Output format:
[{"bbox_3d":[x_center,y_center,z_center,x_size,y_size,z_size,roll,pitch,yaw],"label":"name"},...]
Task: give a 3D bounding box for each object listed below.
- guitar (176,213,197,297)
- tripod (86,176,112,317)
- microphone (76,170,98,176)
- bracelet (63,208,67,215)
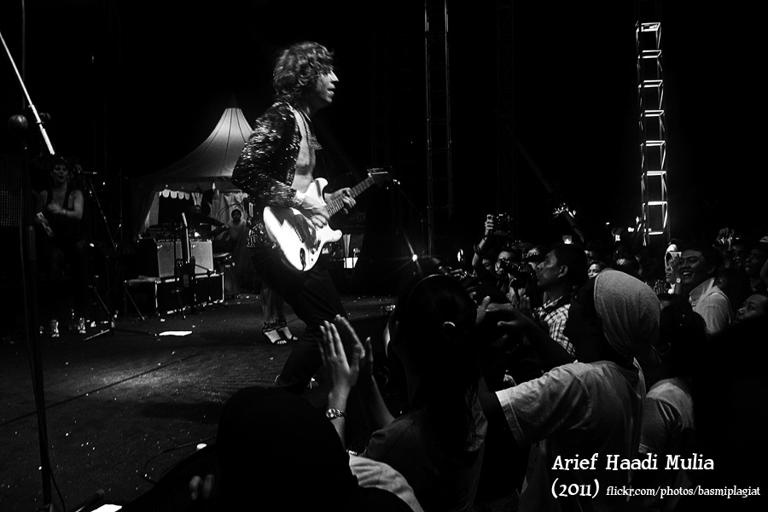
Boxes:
[{"bbox_3d":[-3.766,0.117,11.534,0.269,1.866,0.357,-2,-11,-8],"label":"guitar"},{"bbox_3d":[-4.766,-0.103,10.108,0.210,2.453,0.323,-13,13,-39],"label":"tripod"},{"bbox_3d":[-4.066,-1.155,8.419,0.229,0.058,0.353,-6,4,4],"label":"microphone"},{"bbox_3d":[-5.024,-0.704,9.557,0.074,0.078,0.017,-1,-9,-37],"label":"bracelet"}]
